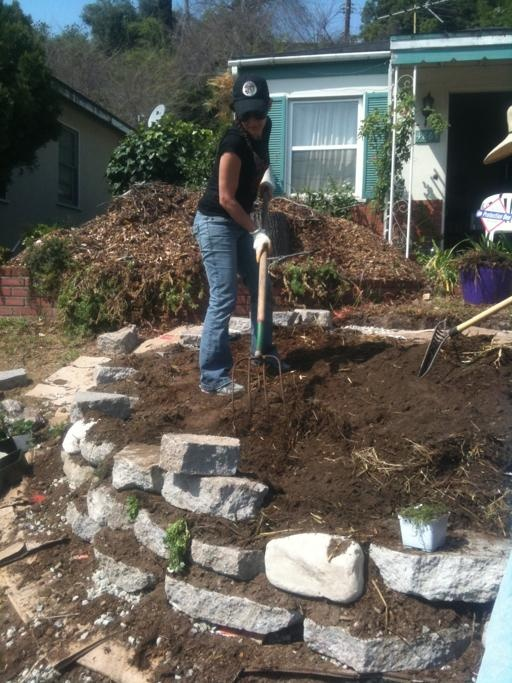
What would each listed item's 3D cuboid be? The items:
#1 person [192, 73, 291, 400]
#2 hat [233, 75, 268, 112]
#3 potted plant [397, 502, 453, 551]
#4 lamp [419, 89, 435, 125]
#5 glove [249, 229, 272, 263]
[{"bbox_3d":[-0.126,-0.582,3.836,0.474,1.723,0.729,-2,10,-4],"label":"person"},{"bbox_3d":[-0.034,-1.296,3.566,0.157,0.126,0.239,0,31,4],"label":"hat"},{"bbox_3d":[0.644,0.709,2.593,0.177,0.151,0.153,-2,4,18],"label":"potted plant"},{"bbox_3d":[2.150,-2.916,8.485,0.174,0.408,0.379,1,10,14],"label":"lamp"},{"bbox_3d":[0.031,-0.555,3.925,0.104,0.197,0.052,-7,-37,15],"label":"glove"}]
